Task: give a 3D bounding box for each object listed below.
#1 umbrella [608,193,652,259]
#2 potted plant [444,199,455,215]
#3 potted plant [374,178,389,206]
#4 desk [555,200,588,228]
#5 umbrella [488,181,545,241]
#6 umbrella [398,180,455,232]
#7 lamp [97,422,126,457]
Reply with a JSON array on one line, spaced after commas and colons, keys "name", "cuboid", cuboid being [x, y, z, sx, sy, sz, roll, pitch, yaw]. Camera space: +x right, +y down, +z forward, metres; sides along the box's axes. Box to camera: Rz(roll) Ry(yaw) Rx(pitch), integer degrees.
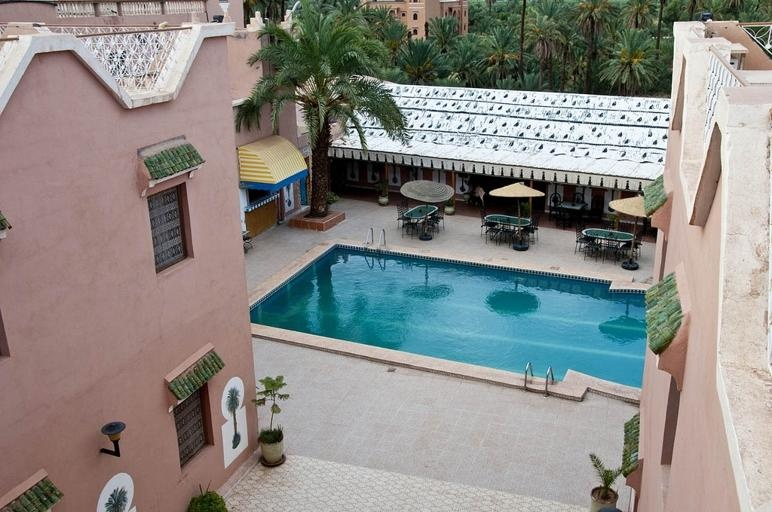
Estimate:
[{"name": "umbrella", "cuboid": [10.599, -1.166, 26.062, 1.955, 2.358, 2.229, 1, 38, 23]}, {"name": "potted plant", "cuboid": [3.371, -2.637, 32.030, 0.725, 1.226, 0.721, 0, 10, 2]}, {"name": "potted plant", "cuboid": [-0.193, -3.575, 33.458, 0.597, 1.332, 1.123, -1, 27, 0]}, {"name": "desk", "cuboid": [9.375, -2.186, 30.342, 1.151, 1.025, 1.543, 12, 35, 23]}, {"name": "umbrella", "cuboid": [6.316, -1.961, 29.078, 2.644, 2.509, 2.774, -12, 23, -23]}, {"name": "umbrella", "cuboid": [2.224, -2.780, 30.486, 2.365, 2.118, 3.528, 6, 28, 14]}, {"name": "lamp", "cuboid": [-5.038, 3.447, 11.068, 0.423, 0.513, 0.344, 5, 10, 5]}]
